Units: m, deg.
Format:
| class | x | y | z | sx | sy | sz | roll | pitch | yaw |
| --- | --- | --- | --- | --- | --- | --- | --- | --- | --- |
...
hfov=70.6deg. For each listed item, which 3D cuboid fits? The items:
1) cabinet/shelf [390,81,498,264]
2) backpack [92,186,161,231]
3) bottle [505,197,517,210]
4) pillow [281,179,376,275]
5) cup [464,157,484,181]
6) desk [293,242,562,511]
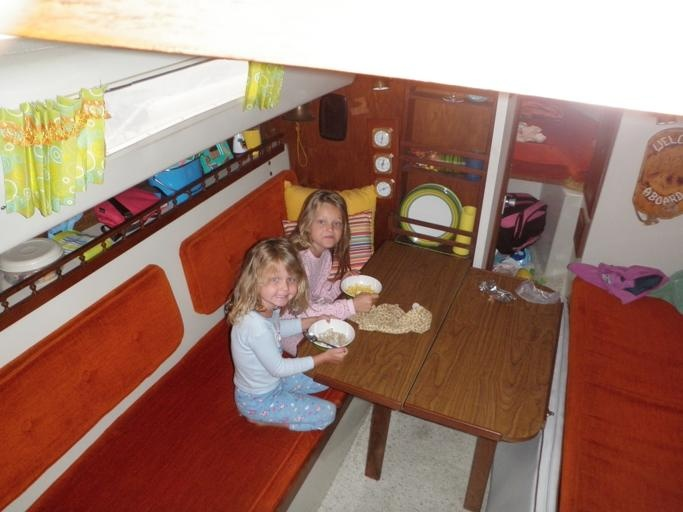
| class | x | y | z | sx | sy | sz | roll | pitch | yaw |
| --- | --- | --- | --- | --- | --- | --- | --- | --- | --- |
| cabinet/shelf | 0.623 | -0.546 | 2.953 | 0.568 | 0.965 | 0.356 | 14 | 42 | 20 |
| backpack | -0.953 | -0.231 | 2.168 | 0.180 | 0.096 | 0.258 | 37 | 47 | 25 |
| bottle | 1.314 | -0.413 | 3.768 | 0.092 | 0.022 | 0.089 | -5 | 74 | 18 |
| pillow | 0.020 | -0.153 | 3.233 | 0.544 | 0.171 | 0.574 | -2 | 83 | -8 |
| cup | 0.781 | -0.513 | 2.863 | 0.096 | 0.156 | 0.160 | 6 | 41 | 10 |
| desk | 0.518 | 0.603 | 2.446 | 1.039 | 0.699 | 1.116 | 16 | 42 | 16 |
